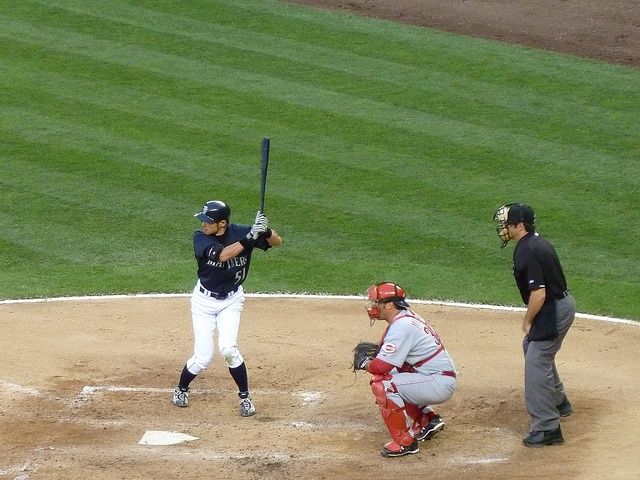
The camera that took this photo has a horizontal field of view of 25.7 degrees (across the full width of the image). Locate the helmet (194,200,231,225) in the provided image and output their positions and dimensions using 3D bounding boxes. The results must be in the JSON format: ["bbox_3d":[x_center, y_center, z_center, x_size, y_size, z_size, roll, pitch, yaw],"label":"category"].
[{"bbox_3d":[-1.505,-0.401,19.949,0.479,0.198,0.302,3,10,-7],"label":"helmet"}]

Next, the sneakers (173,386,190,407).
[{"bbox_3d":[-1.994,2.270,20.284,0.150,0.153,0.346,5,36,-33],"label":"sneakers"}]

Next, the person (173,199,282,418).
[{"bbox_3d":[-1.363,0.955,20.095,1.179,3.005,0.844,6,16,1],"label":"person"}]

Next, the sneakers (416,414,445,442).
[{"bbox_3d":[1.549,2.617,19.500,0.531,0.245,0.244,-36,-28,31],"label":"sneakers"}]

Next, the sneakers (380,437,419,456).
[{"bbox_3d":[1.127,2.877,19.328,0.469,0.158,0.218,1,2,-6],"label":"sneakers"}]

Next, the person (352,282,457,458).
[{"bbox_3d":[1.185,1.795,19.316,1.391,2.301,0.815,9,16,13],"label":"person"}]

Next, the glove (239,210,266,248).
[{"bbox_3d":[-0.920,-0.139,19.934,0.216,0.498,0.515,15,17,30],"label":"glove"}]

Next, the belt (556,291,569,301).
[{"bbox_3d":[3.390,0.767,19.367,0.161,0.043,0.147,-12,12,30],"label":"belt"}]

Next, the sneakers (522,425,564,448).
[{"bbox_3d":[3.102,2.724,19.337,0.623,0.260,0.240,1,13,-3],"label":"sneakers"}]

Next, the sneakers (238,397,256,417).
[{"bbox_3d":[-1.020,2.404,20.070,0.155,0.147,0.353,-9,27,-10],"label":"sneakers"}]

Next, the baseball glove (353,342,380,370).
[{"bbox_3d":[0.660,1.633,19.654,0.359,0.364,0.167,3,-14,6],"label":"baseball glove"}]

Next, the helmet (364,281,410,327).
[{"bbox_3d":[0.921,0.825,19.624,0.708,0.489,0.460,4,2,11],"label":"helmet"}]

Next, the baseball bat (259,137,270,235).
[{"bbox_3d":[-0.809,-0.897,20.469,0.129,1.206,0.109,2,-9,2],"label":"baseball bat"}]
